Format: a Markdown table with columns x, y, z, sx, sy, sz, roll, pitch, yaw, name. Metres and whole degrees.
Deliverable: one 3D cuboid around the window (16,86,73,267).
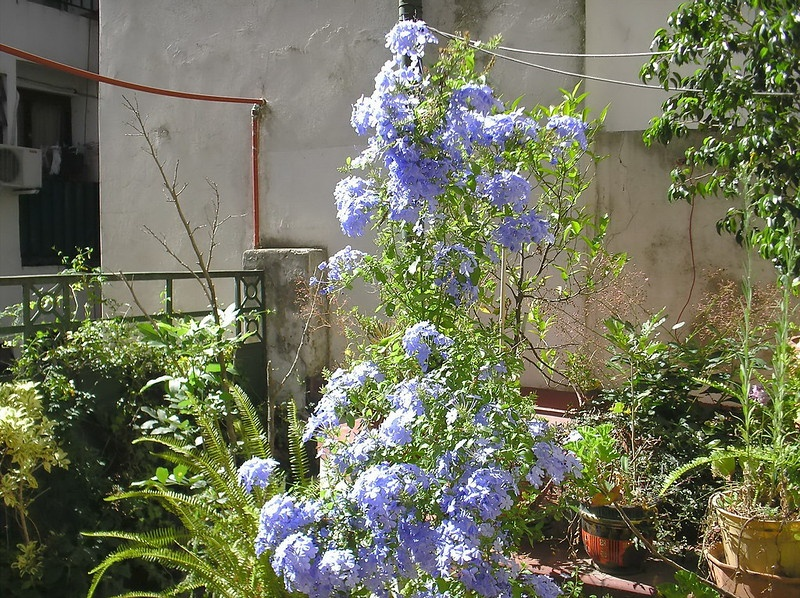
| x | y | z | sx | sy | sz | roll | pitch | yaw | name |
| --- | --- | --- | --- | --- | --- | --- | --- | --- | --- |
| -5.504 | -1.926 | 13.601 | 0.923 | 2.880 | 1.472 | 0 | 1 | -26 | window |
